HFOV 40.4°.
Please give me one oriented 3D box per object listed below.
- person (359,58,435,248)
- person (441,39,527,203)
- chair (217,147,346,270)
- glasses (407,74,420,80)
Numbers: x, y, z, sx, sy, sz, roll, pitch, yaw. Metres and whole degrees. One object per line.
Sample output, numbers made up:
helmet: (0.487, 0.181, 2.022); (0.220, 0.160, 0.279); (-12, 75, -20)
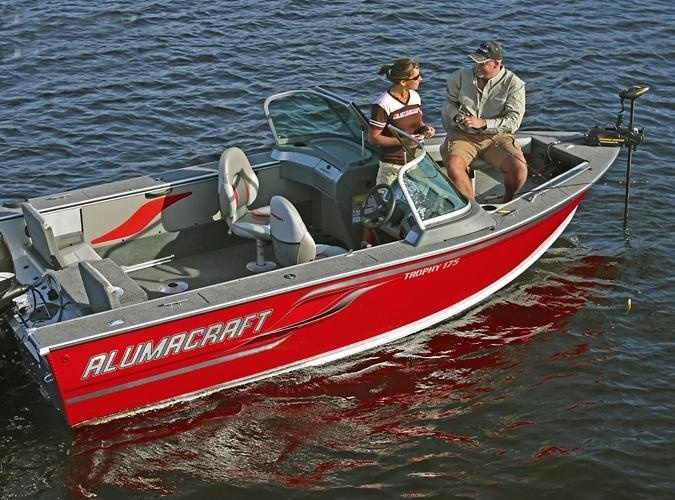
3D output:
person: (0.757, -0.972, 10.068); (0.965, 1.979, 0.909); (16, 29, 34)
person: (1.680, -1.378, 10.514); (1.060, 1.659, 1.032); (1, 7, 4)
chair: (-0.629, -0.444, 10.083); (1.563, 1.072, 1.152); (-16, 31, -42)
glasses: (0.817, -1.810, 9.683); (0.048, 0.059, 0.174); (15, 25, 31)
